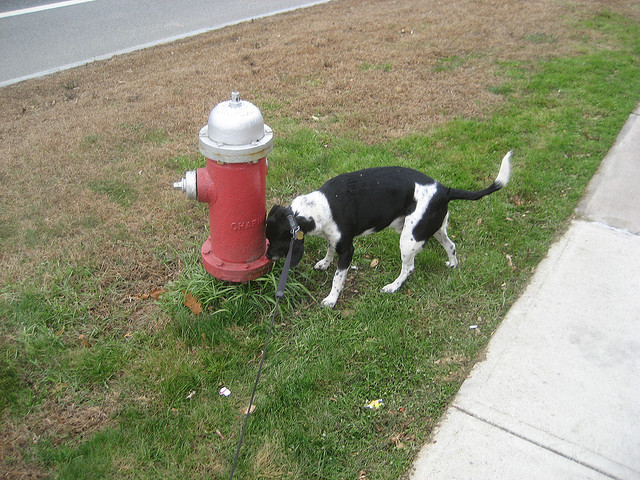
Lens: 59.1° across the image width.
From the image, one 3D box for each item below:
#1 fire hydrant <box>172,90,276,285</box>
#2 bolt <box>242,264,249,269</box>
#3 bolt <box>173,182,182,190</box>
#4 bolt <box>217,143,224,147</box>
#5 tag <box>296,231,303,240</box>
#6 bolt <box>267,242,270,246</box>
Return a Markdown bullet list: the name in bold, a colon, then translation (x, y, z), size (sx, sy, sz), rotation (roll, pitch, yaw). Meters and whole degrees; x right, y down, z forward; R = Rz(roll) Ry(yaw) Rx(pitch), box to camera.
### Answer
- **fire hydrant**: translation (-0.820, -0.552, 5.424), size (1.066, 1.804, 0.859), rotation (2, 34, -5)
- **bolt**: translation (-0.720, 0.263, 5.461), size (0.035, 0.010, 0.040), rotation (-9, 52, -16)
- **bolt**: translation (-1.304, -0.499, 5.185), size (0.072, 0.072, 0.066), rotation (-1, 15, -6)
- **bolt**: translation (-0.879, -0.841, 4.993), size (0.049, 0.019, 0.045), rotation (-16, 38, -6)
- **tag**: translation (-0.192, -0.047, 5.302), size (0.051, 0.067, 0.059), rotation (-4, 0, -24)
- **bolt**: translation (-0.508, 0.042, 5.574), size (0.008, 0.036, 0.033), rotation (2, -1, -22)
